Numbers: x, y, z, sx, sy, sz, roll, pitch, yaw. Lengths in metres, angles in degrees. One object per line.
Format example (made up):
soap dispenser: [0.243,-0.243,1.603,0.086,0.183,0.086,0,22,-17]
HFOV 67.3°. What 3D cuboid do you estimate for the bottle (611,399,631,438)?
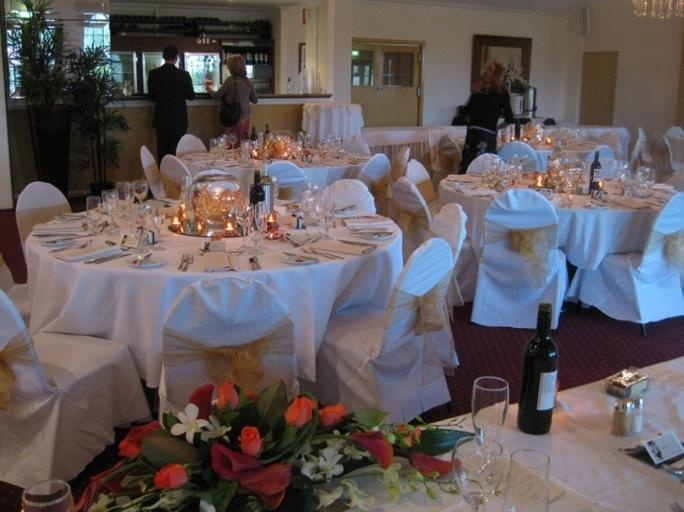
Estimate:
bottle: [0.765,0.443,1.413,0.046,0.100,0.050,-4,14,1]

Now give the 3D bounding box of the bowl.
bowl: [-0.767,-0.282,2.961,0.388,0.272,0.425,1,9,0]

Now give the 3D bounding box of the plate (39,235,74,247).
plate: [-1.482,-0.072,2.688,0.150,0.020,0.181,-2,16,-8]

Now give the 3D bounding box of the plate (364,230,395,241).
plate: [0.199,-0.122,2.924,0.183,0.028,0.212,6,17,17]

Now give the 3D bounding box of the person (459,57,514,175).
person: [1.944,-1.778,7.097,0.637,1.813,0.606,16,47,21]

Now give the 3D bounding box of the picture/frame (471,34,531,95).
picture/frame: [3.739,-4.413,12.035,1.324,1.550,0.063,5,-12,3]

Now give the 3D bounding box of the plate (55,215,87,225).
plate: [-1.652,-0.227,3.124,0.157,0.028,0.251,-9,18,-29]
